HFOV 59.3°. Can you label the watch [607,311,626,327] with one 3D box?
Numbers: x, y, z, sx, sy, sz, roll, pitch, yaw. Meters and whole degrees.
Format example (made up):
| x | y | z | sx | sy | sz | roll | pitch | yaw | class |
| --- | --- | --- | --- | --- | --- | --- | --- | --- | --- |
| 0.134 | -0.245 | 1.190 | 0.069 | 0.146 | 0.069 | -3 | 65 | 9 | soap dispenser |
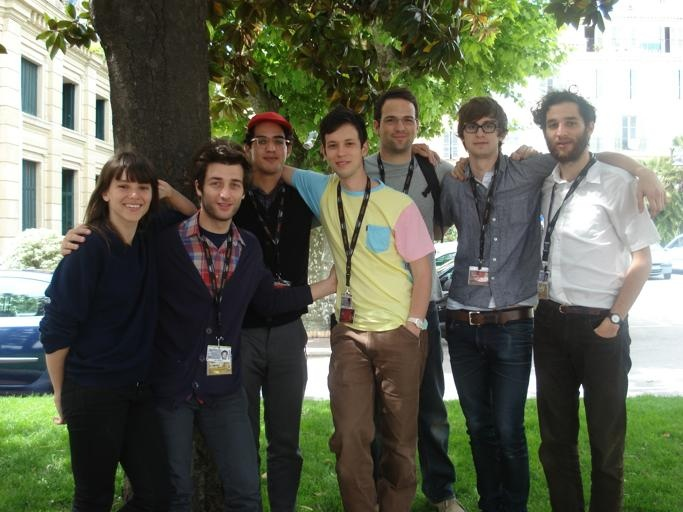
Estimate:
| x | y | z | sx | sy | sz | roll | pitch | yaw | class |
| --- | --- | --- | --- | --- | --- | --- | --- | --- | --- |
| 2.066 | 0.484 | 4.526 | 0.105 | 0.078 | 0.112 | 31 | 8 | 5 | watch |
